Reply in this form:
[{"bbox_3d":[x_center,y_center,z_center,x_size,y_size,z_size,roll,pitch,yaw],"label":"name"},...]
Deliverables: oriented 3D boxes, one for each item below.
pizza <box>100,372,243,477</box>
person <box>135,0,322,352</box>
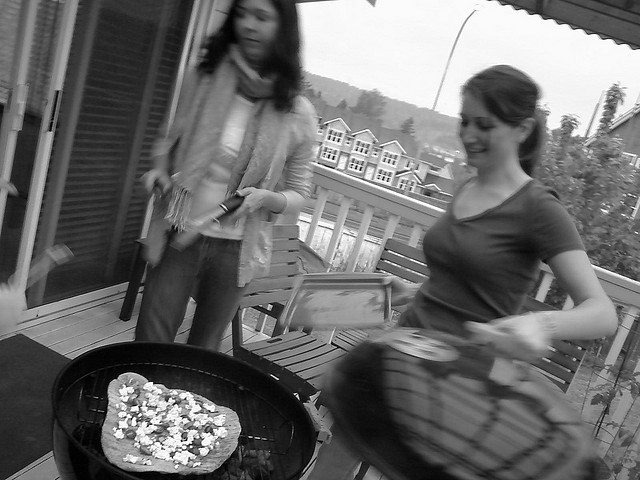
[{"bbox_3d":[-0.369,0.457,1.208,0.333,0.132,0.314,1,8,-15],"label":"pizza"},{"bbox_3d":[-0.314,-0.182,1.693,0.612,1.217,0.301,6,11,-3],"label":"person"}]
